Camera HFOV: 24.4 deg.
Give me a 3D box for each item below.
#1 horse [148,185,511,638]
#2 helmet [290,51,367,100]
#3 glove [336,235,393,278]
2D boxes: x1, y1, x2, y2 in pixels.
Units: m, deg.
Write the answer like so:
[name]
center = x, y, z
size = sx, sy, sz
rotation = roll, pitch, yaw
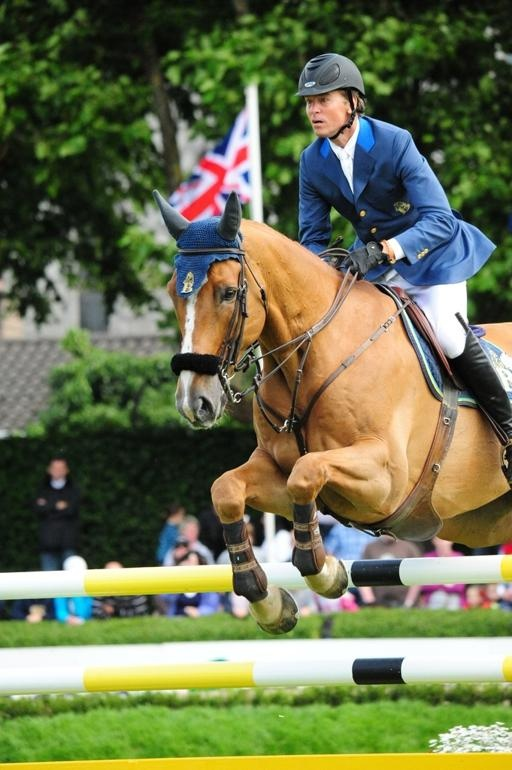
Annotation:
[horse]
center = 0.143, 0.384, 5.103
size = 0.702, 1.524, 2.540
rotation = -21, -31, 37
[helmet]
center = 0.290, -1.194, 4.563
size = 0.176, 0.113, 0.254
rotation = -3, -1, 44
[glove]
center = 0.426, -0.480, 4.505
size = 0.183, 0.111, 0.074
rotation = -33, -8, 29
